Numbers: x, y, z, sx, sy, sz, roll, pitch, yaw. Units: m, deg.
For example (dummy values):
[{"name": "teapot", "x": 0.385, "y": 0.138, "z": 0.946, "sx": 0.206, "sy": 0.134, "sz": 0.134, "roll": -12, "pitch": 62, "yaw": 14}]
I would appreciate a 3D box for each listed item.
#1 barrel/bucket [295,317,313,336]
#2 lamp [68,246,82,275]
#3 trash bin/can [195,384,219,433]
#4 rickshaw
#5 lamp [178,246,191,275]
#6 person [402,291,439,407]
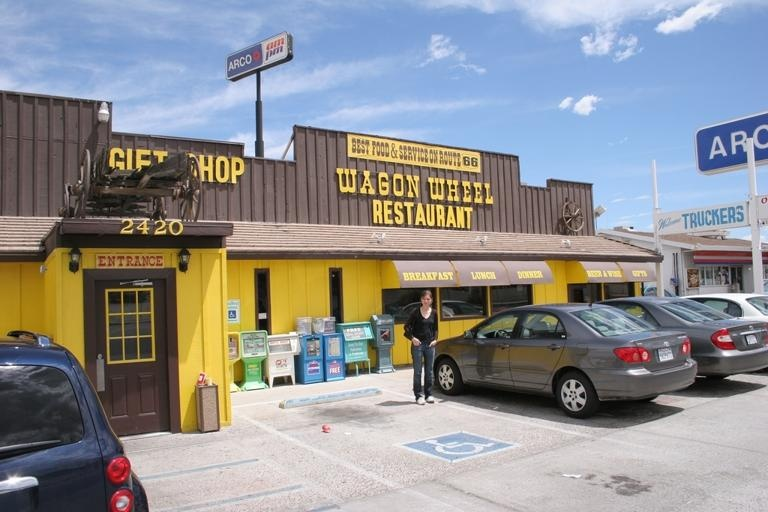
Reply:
[{"name": "barrel/bucket", "x": -1.986, "y": 1.722, "z": 14.835, "sx": 0.500, "sy": 0.552, "sz": 0.347, "roll": 0, "pitch": -6, "yaw": -10}, {"name": "lamp", "x": -5.239, "y": 0.057, "z": 10.116, "sx": 0.215, "sy": 0.410, "sz": 0.133, "roll": -3, "pitch": 3, "yaw": -27}, {"name": "trash bin/can", "x": -3.159, "y": 2.690, "z": 10.669, "sx": 0.374, "sy": 0.832, "sz": 0.215, "roll": -3, "pitch": 3, "yaw": -20}, {"name": "rickshaw", "x": -5.048, "y": -1.370, "z": 11.644, "sx": 2.258, "sy": 1.423, "sz": 4.236, "roll": -3, "pitch": 3, "yaw": -28}, {"name": "lamp", "x": -3.598, "y": 0.061, "z": 10.752, "sx": 0.218, "sy": 0.435, "sz": 0.155, "roll": -3, "pitch": 3, "yaw": -19}, {"name": "person", "x": 0.769, "y": 1.915, "z": 12.584, "sx": 0.903, "sy": 2.051, "sz": 0.732, "roll": 0, "pitch": -2, "yaw": 4}]
